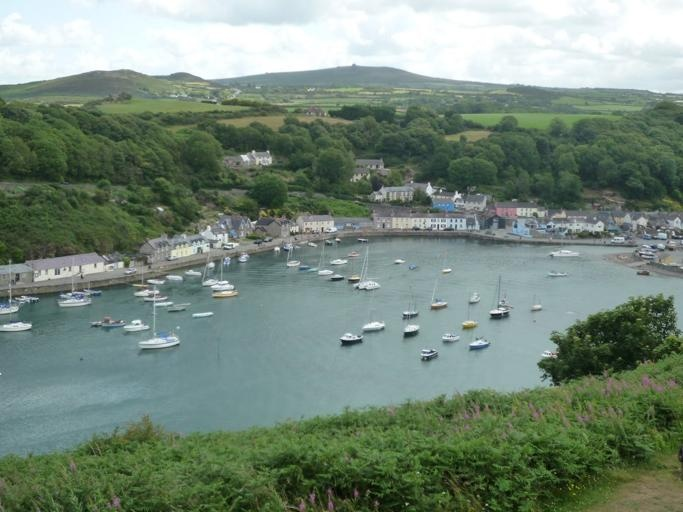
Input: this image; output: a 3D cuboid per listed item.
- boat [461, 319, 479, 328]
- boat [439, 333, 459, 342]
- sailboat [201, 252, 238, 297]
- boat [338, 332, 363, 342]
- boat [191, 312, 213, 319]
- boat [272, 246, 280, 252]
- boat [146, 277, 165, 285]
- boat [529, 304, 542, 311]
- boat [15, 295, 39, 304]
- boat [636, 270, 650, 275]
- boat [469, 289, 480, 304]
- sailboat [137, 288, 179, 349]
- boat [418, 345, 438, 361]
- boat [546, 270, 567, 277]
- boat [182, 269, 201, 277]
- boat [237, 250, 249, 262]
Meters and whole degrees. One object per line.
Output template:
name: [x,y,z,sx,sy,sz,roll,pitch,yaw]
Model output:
boat: [5.243,2.769,33.120,0.670,0.172,0.554,0,14,-7]
boat: [4.272,3.142,31.749,0.714,0.203,0.756,2,13,4]
sailboat: [-5.590,1.390,38.085,1.700,2.293,0.889,2,0,-21]
boat: [0.402,3.134,31.211,0.909,0.236,0.630,-1,14,-7]
boat: [-5.830,2.457,34.298,0.890,0.110,0.698,-1,14,-9]
boat: [-3.882,-0.424,49.190,0.272,0.149,0.367,5,28,4]
boat: [-8.876,1.205,38.909,0.575,0.195,0.354,1,17,-6]
boat: [8.447,2.198,35.058,0.229,0.180,0.456,8,13,32]
boat: [-13.484,1.840,34.966,0.997,0.176,0.906,10,16,32]
boat: [15.571,0.832,42.003,0.645,0.121,0.886,8,15,26]
boat: [6.060,1.846,37.099,0.472,0.624,1.457,-1,-1,9]
sailboat: [-7.224,3.011,31.607,1.798,2.423,0.802,-5,9,-40]
boat: [3.211,3.579,29.899,0.301,0.254,0.684,9,14,35]
boat: [11.062,0.913,41.643,0.944,0.107,1.641,5,14,16]
boat: [-7.532,0.846,41.430,0.970,0.148,0.786,2,13,3]
boat: [-5.535,-0.003,45.742,0.517,0.777,2.307,0,3,-2]
